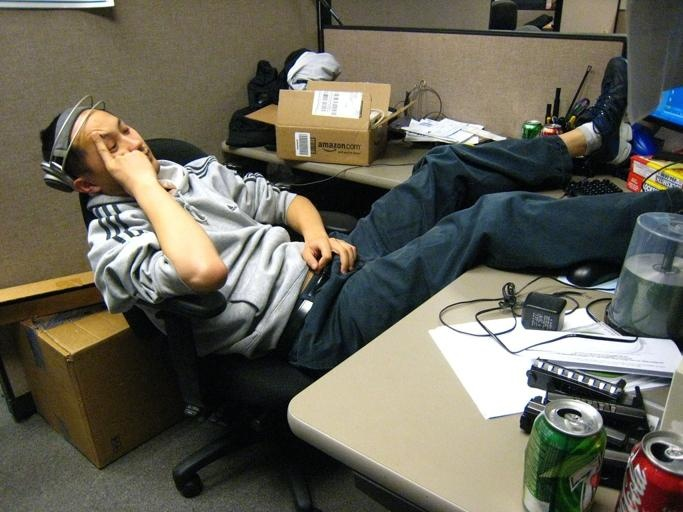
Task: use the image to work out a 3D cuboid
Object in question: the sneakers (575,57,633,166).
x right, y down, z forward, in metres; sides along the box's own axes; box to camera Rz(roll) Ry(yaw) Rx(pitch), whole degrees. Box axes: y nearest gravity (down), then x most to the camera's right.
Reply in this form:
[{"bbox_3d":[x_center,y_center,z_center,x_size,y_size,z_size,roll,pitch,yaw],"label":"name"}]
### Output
[{"bbox_3d":[0.873,-0.472,1.995,0.203,0.449,0.286,10,25,20],"label":"sneakers"}]
